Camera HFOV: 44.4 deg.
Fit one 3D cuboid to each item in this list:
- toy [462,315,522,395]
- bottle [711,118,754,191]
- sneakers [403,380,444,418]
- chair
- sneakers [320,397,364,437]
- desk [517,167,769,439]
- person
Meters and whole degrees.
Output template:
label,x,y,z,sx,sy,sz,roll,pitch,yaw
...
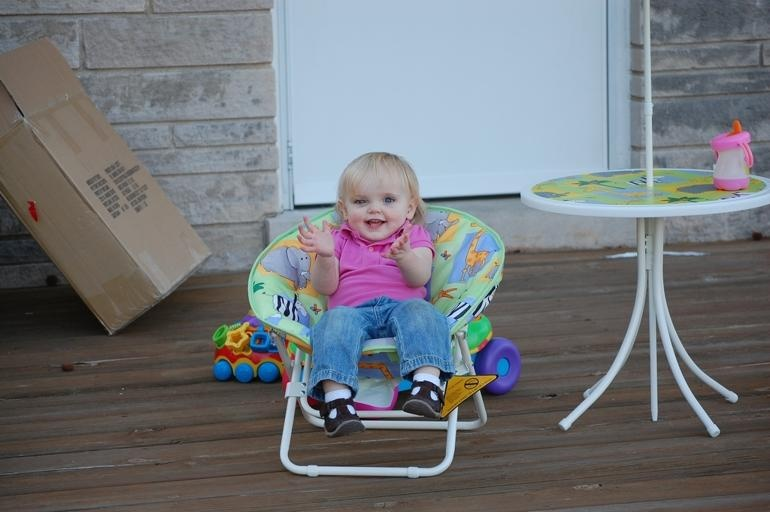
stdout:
label,x,y,z,sx,sy,sz,roll,pitch,yaw
toy,0.491,0.470,4.382,0.209,0.220,0.327,-16,26,-9
bottle,1.509,-0.451,4.113,0.170,0.270,0.274,3,25,18
sneakers,0.163,0.585,3.913,0.121,0.082,0.187,3,10,8
chair,-0.066,0.327,4.202,1.168,0.772,1.233,3,20,-8
sneakers,-0.180,0.658,3.917,0.113,0.087,0.205,-3,6,-7
desk,1.169,0.150,4.468,1.259,0.979,1.224,-3,2,-15
person,-0.043,0.179,4.121,0.613,1.072,0.919,-5,24,1
